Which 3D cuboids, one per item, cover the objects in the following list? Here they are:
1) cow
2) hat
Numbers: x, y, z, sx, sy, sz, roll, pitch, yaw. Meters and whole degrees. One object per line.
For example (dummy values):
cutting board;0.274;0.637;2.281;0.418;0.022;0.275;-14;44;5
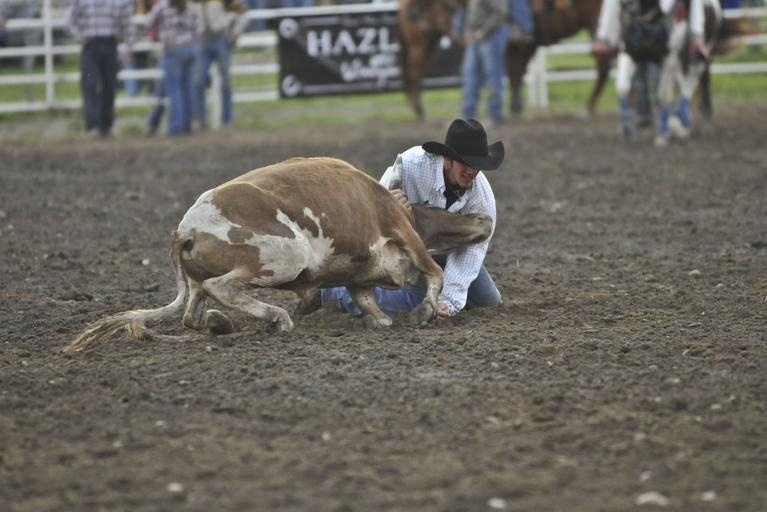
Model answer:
cow;-0.666;-0.048;11.157;4.174;1.611;0.993;1;-4;-34
hat;0.742;-1.044;11.375;0.690;0.319;0.738;-2;-3;42
